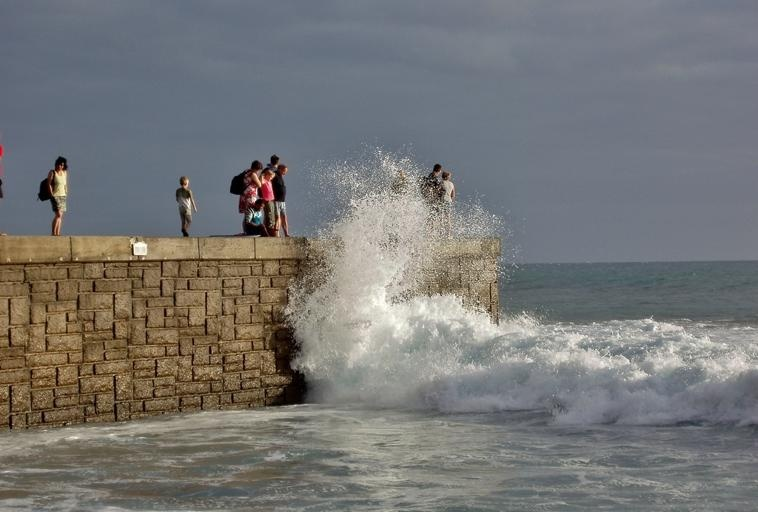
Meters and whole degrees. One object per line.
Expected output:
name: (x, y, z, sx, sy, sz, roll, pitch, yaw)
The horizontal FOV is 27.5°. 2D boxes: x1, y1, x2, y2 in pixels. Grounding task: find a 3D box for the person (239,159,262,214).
person: (-2.057, -1.114, 25.168, 0.433, 0.962, 0.405, 10, 28, 8)
